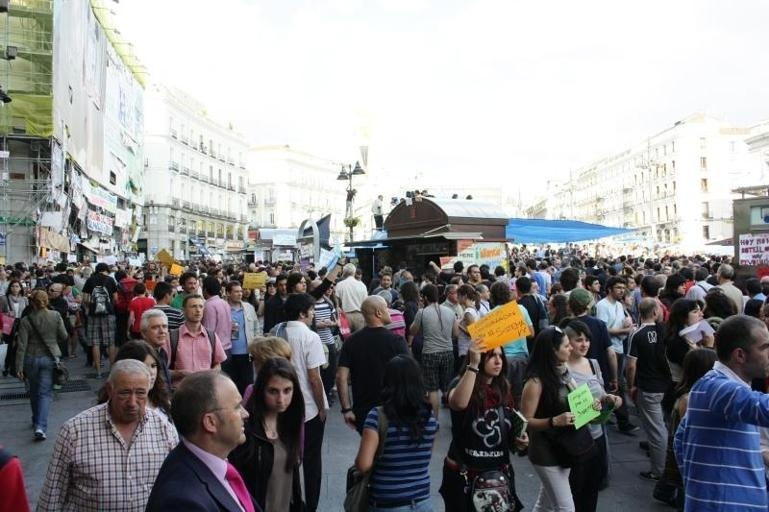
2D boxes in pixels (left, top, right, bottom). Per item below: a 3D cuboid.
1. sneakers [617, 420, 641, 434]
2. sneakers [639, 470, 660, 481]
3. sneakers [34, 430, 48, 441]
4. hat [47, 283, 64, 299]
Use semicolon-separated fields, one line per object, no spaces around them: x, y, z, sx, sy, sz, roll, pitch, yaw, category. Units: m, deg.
3.701;2.589;9.719;0.345;0.257;0.129;-6;-3;19;sneakers
3.362;2.779;8.137;0.202;0.084;0.079;7;3;39;sneakers
-5.116;2.643;9.465;0.099;0.124;0.251;1;-4;-5;sneakers
-6.449;0.691;12.511;0.214;0.263;0.202;31;6;26;hat
